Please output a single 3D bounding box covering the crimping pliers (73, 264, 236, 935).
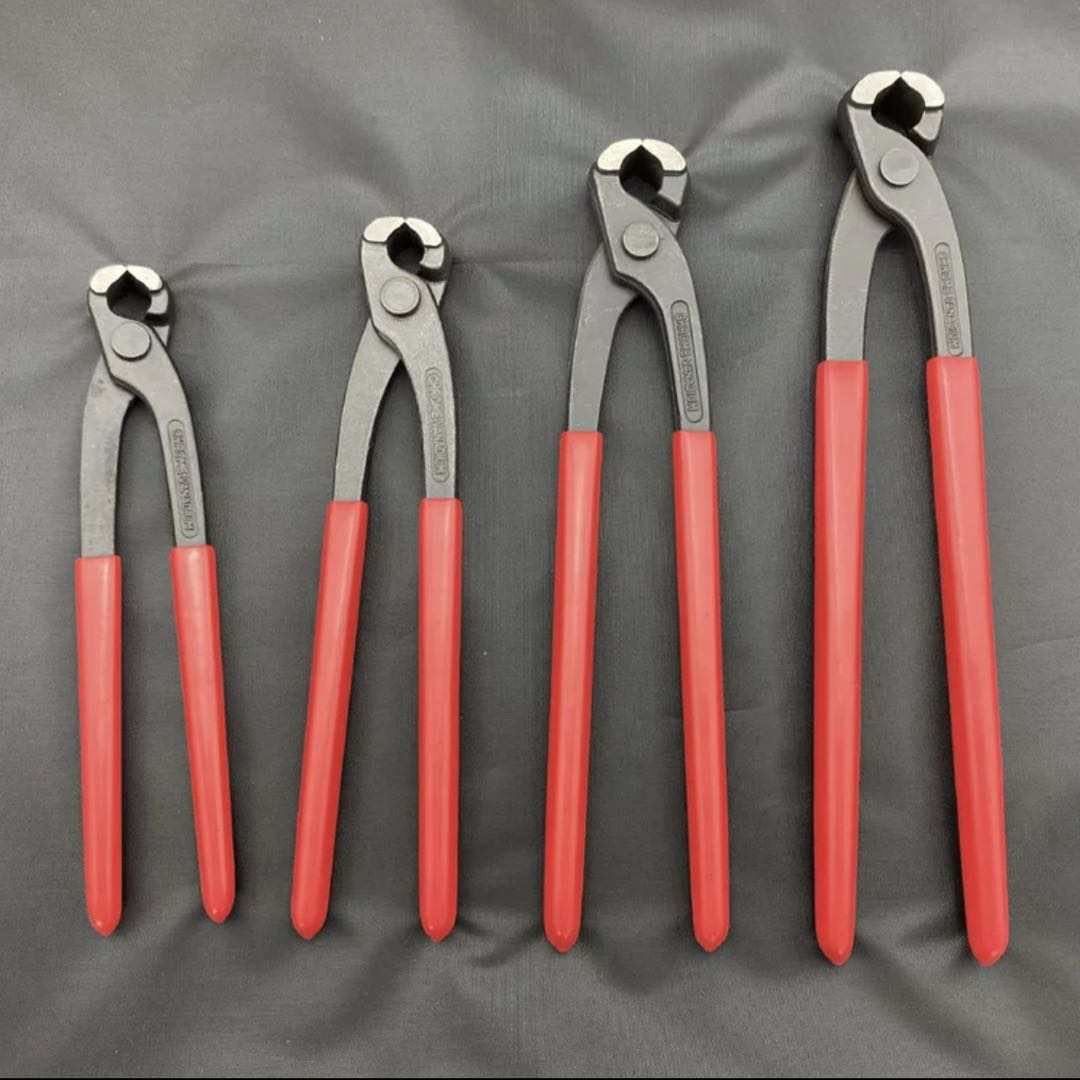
[{"bbox_3d":[-0.385,0.051,1.530,0.161,0.666,0.138,0,1,-6],"label":"crimping pliers"}]

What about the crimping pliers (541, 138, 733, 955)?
[{"bbox_3d":[0.100,-0.008,1.511,0.175,0.799,0.170,0,1,6],"label":"crimping pliers"}]

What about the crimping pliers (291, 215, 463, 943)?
[{"bbox_3d":[-0.161,0.031,1.517,0.166,0.720,0.157,0,1,-3],"label":"crimping pliers"}]
